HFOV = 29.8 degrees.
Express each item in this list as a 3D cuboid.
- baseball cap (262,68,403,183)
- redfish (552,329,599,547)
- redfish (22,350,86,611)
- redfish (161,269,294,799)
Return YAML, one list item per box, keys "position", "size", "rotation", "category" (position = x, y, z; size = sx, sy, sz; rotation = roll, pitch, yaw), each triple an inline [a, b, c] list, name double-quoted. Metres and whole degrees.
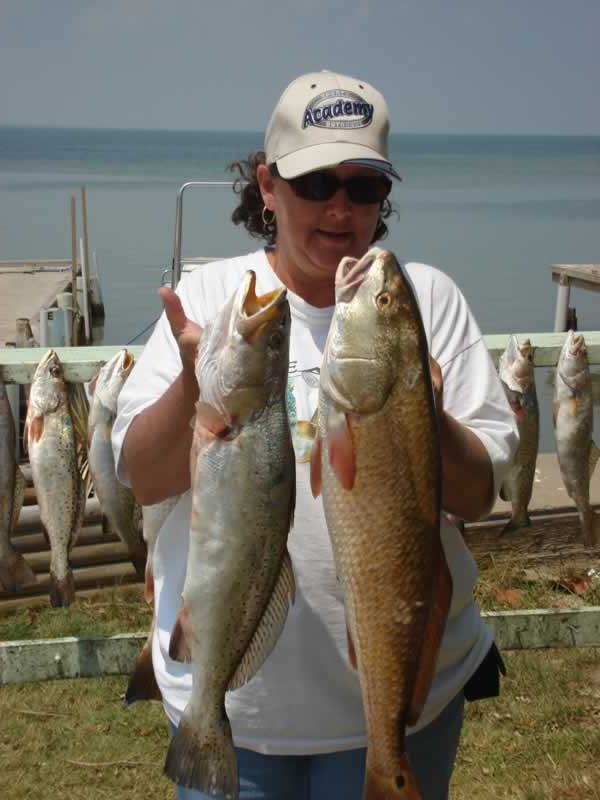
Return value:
- position: [0.079, -0.706, 2.870]
  size: [0.338, 0.253, 0.482]
  rotation: [2, 18, -1]
  category: "baseball cap"
- position: [1.244, 0.117, 4.984]
  size: [0.294, 1.180, 0.195]
  rotation: [-2, 45, 14]
  category: "redfish"
- position: [-0.961, 0.313, 4.388]
  size: [0.210, 1.068, 0.446]
  rotation: [-2, 11, -11]
  category: "redfish"
- position: [-0.160, 0.316, 2.572]
  size: [0.267, 1.204, 0.189]
  rotation: [-10, 15, -43]
  category: "redfish"
